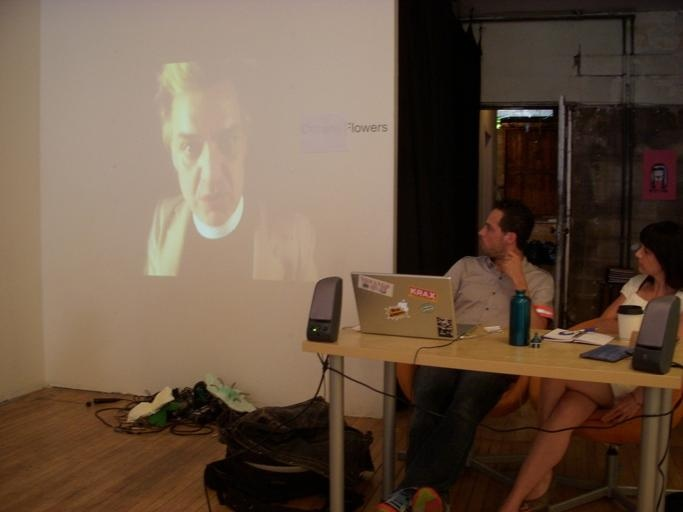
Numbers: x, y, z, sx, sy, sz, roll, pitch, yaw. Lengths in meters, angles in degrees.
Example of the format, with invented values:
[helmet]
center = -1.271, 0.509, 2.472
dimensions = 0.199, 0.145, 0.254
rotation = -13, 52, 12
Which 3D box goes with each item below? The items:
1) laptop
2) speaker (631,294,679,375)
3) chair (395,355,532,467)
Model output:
[laptop]
center = 0.304, 0.224, 2.788
dimensions = 0.421, 0.278, 0.346
rotation = 0, 4, 26
[speaker]
center = 1.312, 0.319, 2.448
dimensions = 0.132, 0.292, 0.235
rotation = 6, 12, 38
[chair]
center = 0.676, 0.842, 3.349
dimensions = 0.498, 0.505, 0.385
rotation = 1, -3, -32
